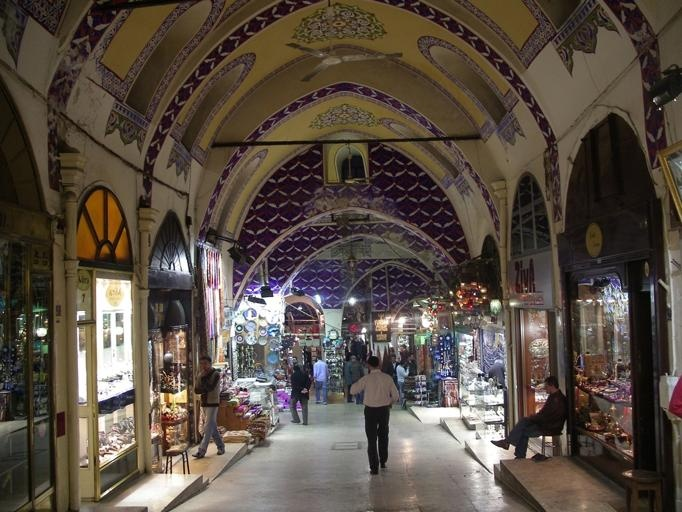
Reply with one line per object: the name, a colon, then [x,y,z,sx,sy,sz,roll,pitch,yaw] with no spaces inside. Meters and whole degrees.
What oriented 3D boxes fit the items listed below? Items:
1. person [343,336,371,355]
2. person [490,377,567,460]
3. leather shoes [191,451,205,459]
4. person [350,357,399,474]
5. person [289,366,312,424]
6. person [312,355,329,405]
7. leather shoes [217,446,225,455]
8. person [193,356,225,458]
person: [0.674,3.431,19.727,0.895,0.842,1.113,-2,-11,-2]
person: [2.810,2.271,7.519,1.083,1.571,0.659,2,-4,22]
leather shoes: [-2.362,3.272,8.519,0.210,0.110,0.082,2,-13,3]
person: [0.518,2.325,7.652,0.641,1.657,0.835,-2,-10,1]
person: [-1.092,3.569,13.542,0.469,1.520,1.321,-1,-10,-6]
person: [-0.675,4.173,17.185,0.400,1.400,1.100,-1,-10,-4]
leather shoes: [-2.055,3.320,8.792,0.068,0.153,0.152,0,-19,3]
person: [-2.261,2.546,8.829,0.515,1.644,0.658,1,-10,-15]
